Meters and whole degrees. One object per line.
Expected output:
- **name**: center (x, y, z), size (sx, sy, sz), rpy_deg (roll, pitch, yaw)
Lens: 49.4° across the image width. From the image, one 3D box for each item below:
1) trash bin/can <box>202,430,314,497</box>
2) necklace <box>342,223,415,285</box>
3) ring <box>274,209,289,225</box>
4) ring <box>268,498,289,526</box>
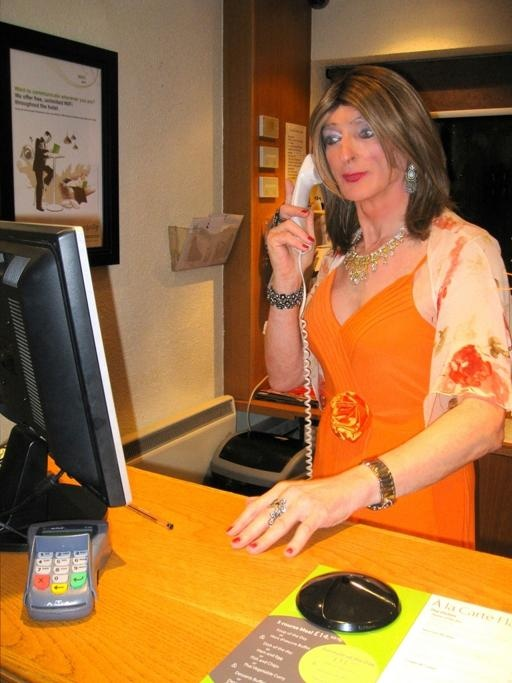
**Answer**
- **trash bin/can**: center (0.019, 0.405, 2.181), size (0.322, 0.305, 0.246), rpy_deg (2, -1, 43)
- **necklace**: center (0.267, -0.186, 1.237), size (0.020, 0.113, 0.114), rpy_deg (29, -6, -19)
- **ring**: center (0.058, -0.307, 1.375), size (0.016, 0.020, 0.047), rpy_deg (8, -16, 0)
- **ring**: center (0.027, 0.220, 0.721), size (0.010, 0.037, 0.021), rpy_deg (18, 20, -37)
